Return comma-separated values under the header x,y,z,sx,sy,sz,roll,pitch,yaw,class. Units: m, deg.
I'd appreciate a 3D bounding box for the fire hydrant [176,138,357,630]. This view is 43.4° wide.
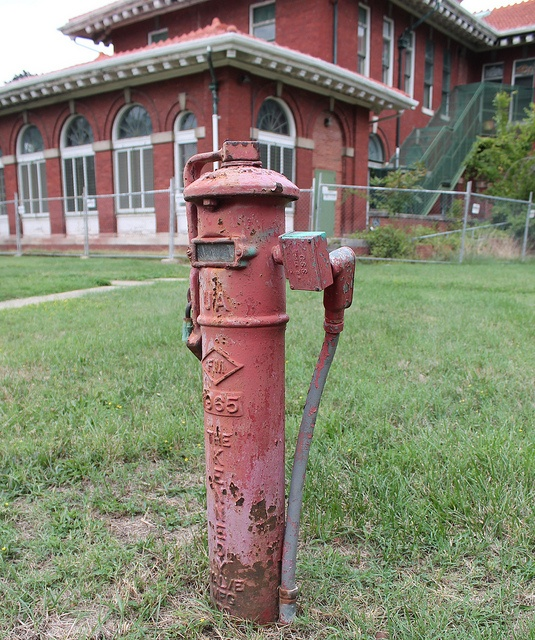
x,y,z,sx,sy,sz,roll,pitch,yaw,class
-0.019,0.210,2.174,0.570,1.549,0.334,2,7,6,fire hydrant
